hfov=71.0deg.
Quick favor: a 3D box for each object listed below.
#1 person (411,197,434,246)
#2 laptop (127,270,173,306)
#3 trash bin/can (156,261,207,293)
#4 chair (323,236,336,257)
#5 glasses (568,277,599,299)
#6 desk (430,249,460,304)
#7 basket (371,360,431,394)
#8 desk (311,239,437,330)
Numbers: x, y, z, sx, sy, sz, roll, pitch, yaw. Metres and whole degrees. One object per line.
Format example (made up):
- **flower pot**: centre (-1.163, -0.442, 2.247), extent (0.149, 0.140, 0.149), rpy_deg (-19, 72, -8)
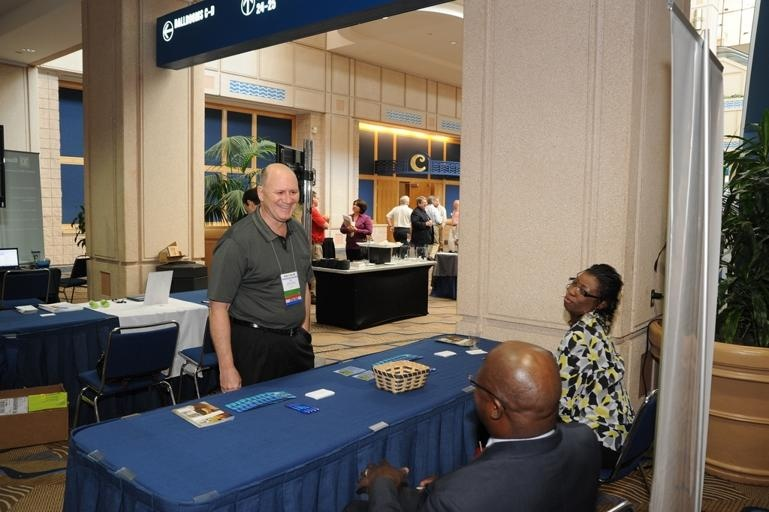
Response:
- **person**: centre (0.798, -0.714, 11.418), extent (0.496, 1.016, 0.498), rpy_deg (-3, 10, -10)
- **laptop**: centre (-2.283, 0.292, 5.256), extent (0.351, 0.345, 0.310), rpy_deg (7, 5, 36)
- **trash bin/can**: centre (-2.564, 0.273, 6.881), extent (0.676, 0.603, 0.358), rpy_deg (0, 0, -43)
- **chair**: centre (-1.027, -0.146, 9.923), extent (0.278, 0.369, 0.275), rpy_deg (6, 9, 35)
- **glasses**: centre (1.253, 0.217, 3.311), extent (0.037, 0.125, 0.117), rpy_deg (-31, 37, -23)
- **desk**: centre (1.090, 0.391, 10.277), extent (0.752, 0.981, 0.736), rpy_deg (2, 1, -45)
- **basket**: centre (0.119, 0.713, 3.235), extent (0.238, 0.094, 0.181), rpy_deg (-2, 3, -42)
- **desk**: centre (-0.137, 0.538, 7.953), extent (1.708, 1.012, 0.683), rpy_deg (-7, 12, -31)
